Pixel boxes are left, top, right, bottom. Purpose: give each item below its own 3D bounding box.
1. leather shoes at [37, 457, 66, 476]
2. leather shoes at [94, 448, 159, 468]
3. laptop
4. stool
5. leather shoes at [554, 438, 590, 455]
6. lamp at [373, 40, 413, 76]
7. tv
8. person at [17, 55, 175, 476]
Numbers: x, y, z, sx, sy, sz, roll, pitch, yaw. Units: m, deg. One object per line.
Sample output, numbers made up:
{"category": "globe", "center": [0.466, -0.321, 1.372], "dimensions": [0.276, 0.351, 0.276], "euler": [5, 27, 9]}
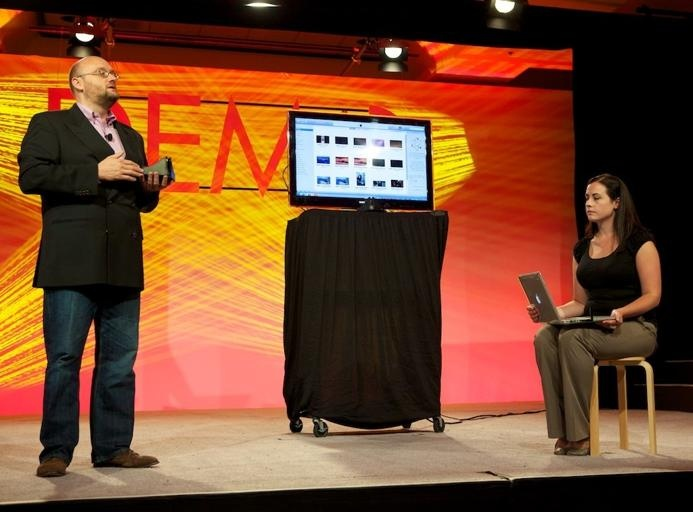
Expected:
{"category": "leather shoes", "center": [-1.437, 1.025, 3.491], "dimensions": [0.138, 0.077, 0.128], "euler": [1, -3, -21]}
{"category": "leather shoes", "center": [-1.115, 1.042, 3.703], "dimensions": [0.348, 0.090, 0.107], "euler": [-1, -8, -3]}
{"category": "laptop", "center": [1.229, 0.260, 4.054], "dimensions": [0.474, 0.200, 0.380], "euler": [11, -4, -11]}
{"category": "stool", "center": [1.496, 0.835, 4.110], "dimensions": [0.513, 0.531, 0.511], "euler": [-7, -15, 40]}
{"category": "leather shoes", "center": [1.231, 1.033, 3.882], "dimensions": [0.187, 0.074, 0.132], "euler": [-1, -3, 17]}
{"category": "lamp", "center": [0.471, -1.976, 7.104], "dimensions": [0.273, 0.273, 0.200], "euler": [-1, -3, 1]}
{"category": "tv", "center": [0.097, -0.630, 4.768], "dimensions": [1.284, 0.617, 0.094], "euler": [-4, 8, -40]}
{"category": "person", "center": [-1.309, 0.004, 3.713], "dimensions": [0.727, 2.144, 0.367], "euler": [0, -3, -20]}
